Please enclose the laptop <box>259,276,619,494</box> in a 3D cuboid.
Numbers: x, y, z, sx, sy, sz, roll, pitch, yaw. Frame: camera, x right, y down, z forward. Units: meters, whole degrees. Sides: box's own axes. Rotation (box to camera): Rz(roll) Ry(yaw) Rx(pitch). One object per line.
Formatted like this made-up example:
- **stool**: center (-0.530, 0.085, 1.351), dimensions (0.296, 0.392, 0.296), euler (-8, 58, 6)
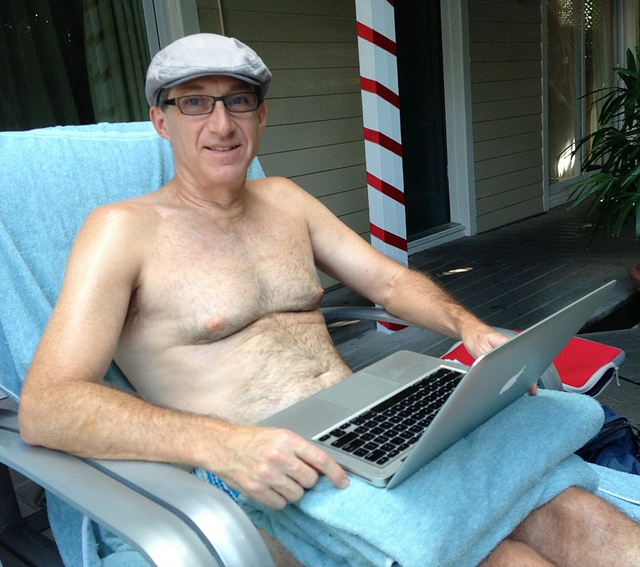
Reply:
- **laptop**: center (0.190, 0.163, 1.036), dimensions (0.581, 0.223, 0.573), euler (3, 13, 30)
